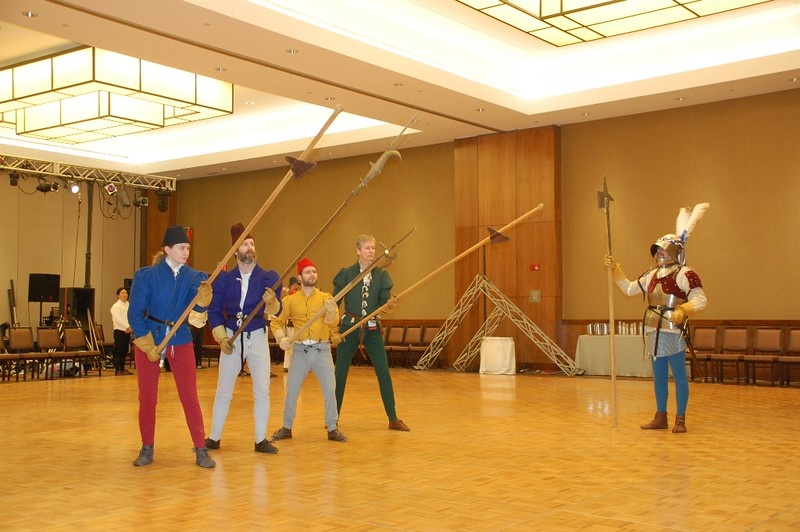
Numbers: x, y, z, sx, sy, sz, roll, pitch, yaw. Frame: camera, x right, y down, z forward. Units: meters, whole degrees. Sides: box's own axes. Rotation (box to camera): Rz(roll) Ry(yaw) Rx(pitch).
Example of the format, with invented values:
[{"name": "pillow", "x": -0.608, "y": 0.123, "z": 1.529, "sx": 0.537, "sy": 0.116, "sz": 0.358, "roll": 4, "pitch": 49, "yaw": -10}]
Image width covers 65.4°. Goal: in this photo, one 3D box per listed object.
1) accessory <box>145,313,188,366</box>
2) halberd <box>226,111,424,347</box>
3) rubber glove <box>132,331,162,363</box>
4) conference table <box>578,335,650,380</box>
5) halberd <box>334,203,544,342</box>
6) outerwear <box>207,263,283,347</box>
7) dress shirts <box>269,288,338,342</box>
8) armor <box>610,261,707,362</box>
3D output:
[{"name": "accessory", "x": -2.115, "y": 0.667, "z": 5.662, "sx": 0.305, "sy": 0.426, "sz": 0.112, "roll": 7, "pitch": -4, "yaw": 10}, {"name": "halberd", "x": -1.292, "y": -1.084, "z": 12.971, "sx": 0.572, "sy": 7.215, "sz": 0.616, "roll": 31, "pitch": 3, "yaw": -43}, {"name": "rubber glove", "x": -2.228, "y": 0.717, "z": 5.550, "sx": 0.204, "sy": 0.257, "sz": 0.093, "roll": -32, "pitch": 0, "yaw": 1}, {"name": "conference table", "x": 4.364, "y": 1.848, "z": 12.553, "sx": 1.231, "sy": 0.645, "sz": 1.277, "roll": -1, "pitch": -6, "yaw": 20}, {"name": "halberd", "x": 1.212, "y": 0.187, "z": 13.766, "sx": 5.178, "sy": 0.403, "sz": 1.217, "roll": -31, "pitch": -37, "yaw": -3}, {"name": "outerwear", "x": -1.565, "y": 0.342, "z": 6.299, "sx": 0.754, "sy": 0.782, "sz": 0.438, "roll": 0, "pitch": 6, "yaw": -9}, {"name": "dress shirts", "x": -1.026, "y": 0.562, "z": 6.820, "sx": 0.735, "sy": 0.662, "sz": 0.405, "roll": -1, "pitch": 0, "yaw": -6}, {"name": "armor", "x": 3.068, "y": 0.538, "z": 7.344, "sx": 0.929, "sy": 1.114, "sz": 0.456, "roll": -1, "pitch": -1, "yaw": 27}]
